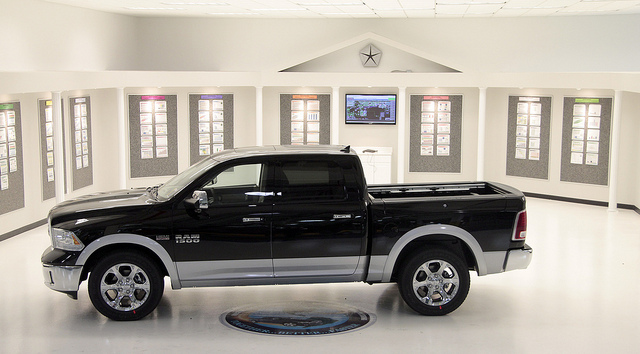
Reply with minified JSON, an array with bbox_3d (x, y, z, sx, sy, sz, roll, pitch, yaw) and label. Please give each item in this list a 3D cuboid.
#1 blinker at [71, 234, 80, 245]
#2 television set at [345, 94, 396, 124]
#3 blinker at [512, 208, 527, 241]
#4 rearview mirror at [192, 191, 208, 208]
[{"bbox_3d":[-3.882,1.002,6.094,0.062,0.184,0.021,-23,16,10],"label":"blinker"},{"bbox_3d":[1.932,-2.666,14.775,2.501,1.173,0.040,-6,12,-31],"label":"television set"},{"bbox_3d":[3.388,0.820,6.485,0.290,0.525,0.120,-10,18,-35],"label":"blinker"},{"bbox_3d":[-1.900,0.359,6.139,0.290,0.254,0.293,0,1,-2],"label":"rearview mirror"}]
